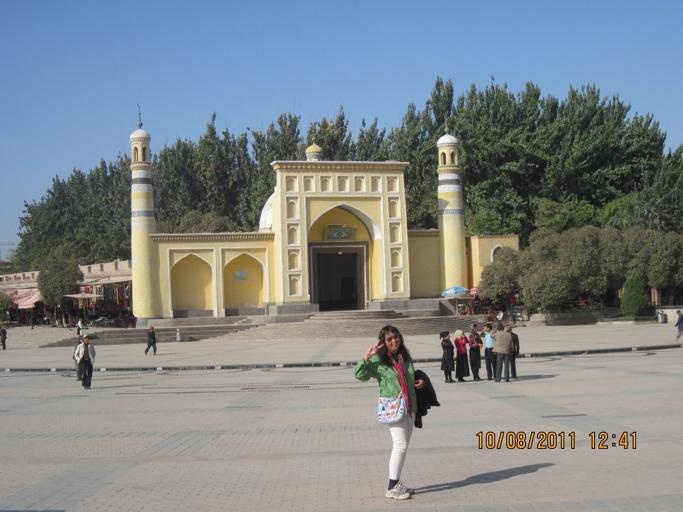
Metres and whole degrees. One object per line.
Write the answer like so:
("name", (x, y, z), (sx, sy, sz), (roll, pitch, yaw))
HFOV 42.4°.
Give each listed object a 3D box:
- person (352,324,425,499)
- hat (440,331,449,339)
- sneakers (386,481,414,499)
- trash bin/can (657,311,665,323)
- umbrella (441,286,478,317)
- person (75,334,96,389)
("person", (0.631, 2.001, 11.425), (0.720, 2.215, 0.614), (-2, 0, 4))
("hat", (2.321, 1.748, 19.639), (0.168, 0.047, 0.160), (-9, 24, 47))
("sneakers", (0.747, 2.961, 11.190), (0.276, 0.163, 0.196), (-2, 1, -3))
("trash bin/can", (14.001, 2.631, 38.431), (0.304, 0.487, 0.691), (-2, 0, 20))
("umbrella", (5.479, 2.097, 40.133), (1.231, 1.190, 1.301), (0, -5, -9))
("person", (-6.034, 2.466, 20.668), (0.418, 1.239, 1.370), (-2, 0, -17))
